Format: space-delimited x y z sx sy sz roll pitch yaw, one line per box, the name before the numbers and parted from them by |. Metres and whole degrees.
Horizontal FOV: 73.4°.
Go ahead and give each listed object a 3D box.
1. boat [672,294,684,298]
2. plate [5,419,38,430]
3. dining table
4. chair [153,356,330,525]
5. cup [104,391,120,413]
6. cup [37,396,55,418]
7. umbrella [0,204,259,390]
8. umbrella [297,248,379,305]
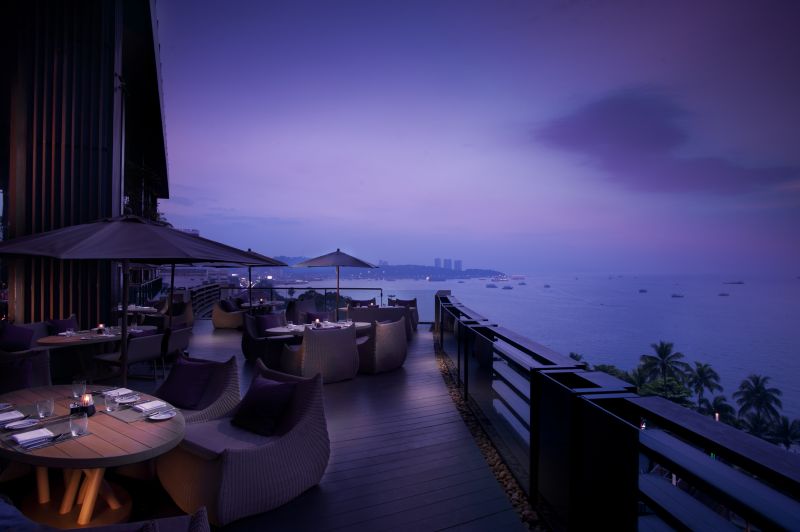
boat | 35.730 3.836 69.302 1.474 0.617 0.405 5 5 40
plate | -4.719 1.974 6.680 0.408 0.096 0.187 1 4 -17
dining table | -3.743 2.285 6.794 1.959 0.969 1.780 8 2 8
chair | -2.060 2.186 7.403 1.949 1.570 1.997 6 -1 -41
cup | -3.874 1.810 7.188 0.206 0.333 0.211 0 -12 0
cup | -4.583 1.832 6.950 0.224 0.269 0.232 -1 -9 0
umbrella | -3.856 0.431 8.119 2.528 1.603 2.434 1 -2 -12
umbrella | -1.561 0.226 12.962 1.309 0.983 1.265 -1 7 -16
